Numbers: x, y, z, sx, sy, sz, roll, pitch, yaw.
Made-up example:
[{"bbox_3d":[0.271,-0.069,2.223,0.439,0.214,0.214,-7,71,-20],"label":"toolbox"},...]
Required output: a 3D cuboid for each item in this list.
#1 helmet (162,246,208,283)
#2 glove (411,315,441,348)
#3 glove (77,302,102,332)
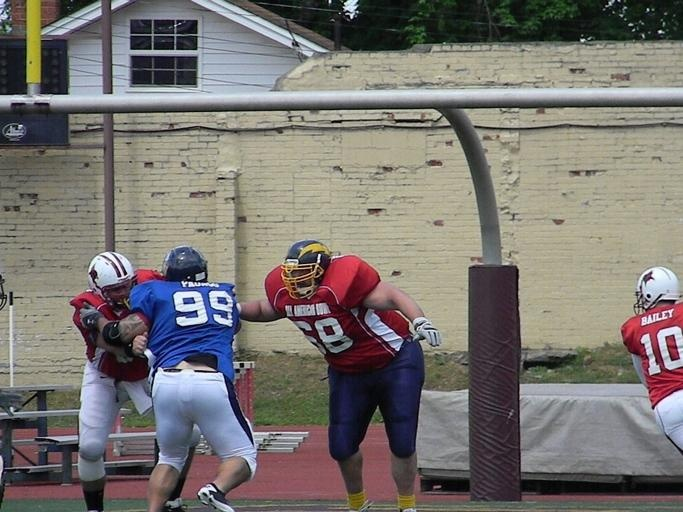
[{"bbox_3d":[-2.042,0.097,26.286,0.496,0.407,0.515,0,18,11],"label":"helmet"},{"bbox_3d":[1.094,0.953,26.209,0.367,0.386,0.324,0,3,3],"label":"glove"},{"bbox_3d":[-3.295,0.784,26.443,0.302,0.322,0.194,0,4,9],"label":"glove"}]
